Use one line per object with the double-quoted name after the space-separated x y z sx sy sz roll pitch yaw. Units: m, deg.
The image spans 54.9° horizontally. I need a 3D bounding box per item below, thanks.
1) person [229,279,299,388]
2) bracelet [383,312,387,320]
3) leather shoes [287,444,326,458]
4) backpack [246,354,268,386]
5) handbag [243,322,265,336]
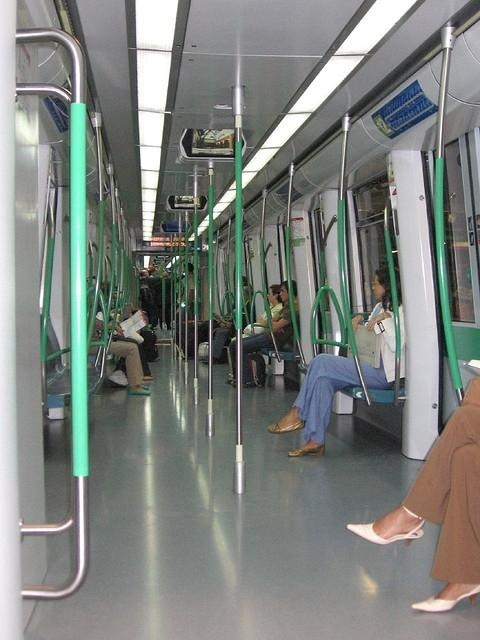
0.318 0.234 7.207 0.795 1.749 0.582 8 -13 -9 "person"
1.176 -0.040 3.717 0.027 0.044 0.017 -3 -6 16 "bracelet"
0.544 1.063 3.833 0.312 0.149 0.117 4 -7 -8 "leather shoes"
0.242 0.788 7.242 0.444 0.623 0.288 0 -1 -12 "backpack"
0.205 0.118 7.494 0.257 0.133 0.196 -14 7 43 "handbag"
